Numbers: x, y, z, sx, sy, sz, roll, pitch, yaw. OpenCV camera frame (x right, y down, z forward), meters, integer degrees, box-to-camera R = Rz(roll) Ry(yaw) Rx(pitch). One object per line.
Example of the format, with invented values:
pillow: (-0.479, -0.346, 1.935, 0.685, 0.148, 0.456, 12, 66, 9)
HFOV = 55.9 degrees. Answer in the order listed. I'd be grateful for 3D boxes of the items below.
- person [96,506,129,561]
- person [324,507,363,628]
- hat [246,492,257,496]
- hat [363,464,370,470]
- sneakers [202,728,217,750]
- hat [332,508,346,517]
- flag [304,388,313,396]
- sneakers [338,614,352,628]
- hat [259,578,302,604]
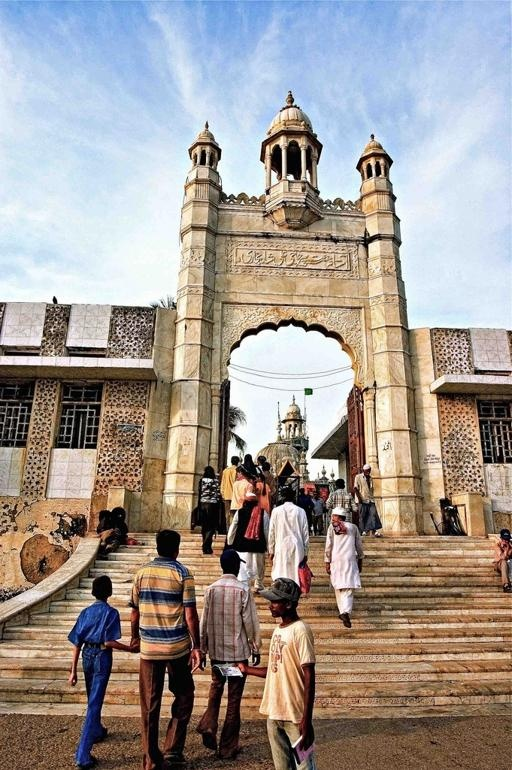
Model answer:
person: (-2.422, 2.447, 8.106, 0.512, 0.765, 1.056, 4, -15, -16)
person: (0.996, 2.046, 5.488, 0.413, 1.277, 0.560, -2, -14, 9)
hat: (-0.063, 1.243, 5.479, 0.110, 0.061, 0.089, 2, -15, -7)
hat: (2.123, 1.563, 9.245, 0.108, 0.081, 0.152, -3, -13, -13)
sneakers: (-0.258, 2.015, 2.773, 0.083, 0.141, 0.041, 6, 31, 29)
hat: (0.969, 1.444, 5.558, 0.105, 0.106, 0.135, 8, 9, 2)
flag: (1.140, 0.124, 10.515, 0.183, 0.134, 0.020, 0, -18, 0)
sneakers: (0.976, 2.581, 5.283, 0.061, 0.162, 0.110, -15, 3, 15)
hat: (0.116, 0.922, 2.227, 0.167, 0.093, 0.122, 11, -20, 4)
